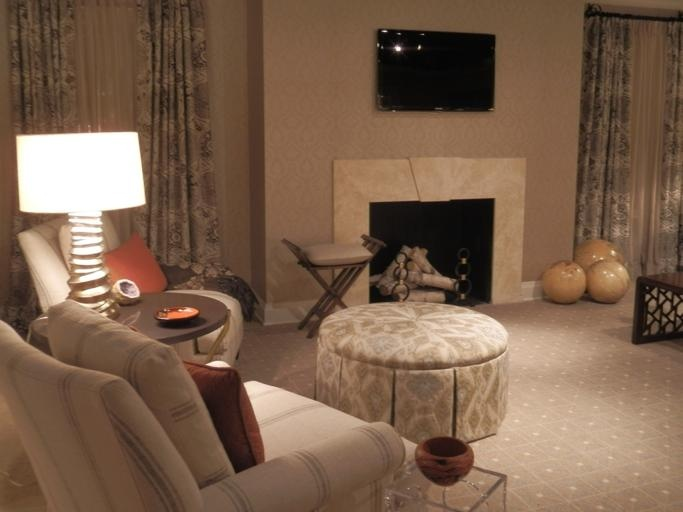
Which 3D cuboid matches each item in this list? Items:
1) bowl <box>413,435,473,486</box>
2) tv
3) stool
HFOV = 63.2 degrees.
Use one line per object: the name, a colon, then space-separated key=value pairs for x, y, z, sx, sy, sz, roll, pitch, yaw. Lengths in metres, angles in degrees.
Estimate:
bowl: x=0.311 y=0.609 z=1.670 sx=0.148 sy=0.091 sz=0.144 roll=-2 pitch=8 yaw=0
tv: x=0.742 y=-1.545 z=4.591 sx=0.787 sy=0.467 sz=0.078 roll=-1 pitch=12 yaw=-12
stool: x=0.470 y=0.475 z=2.902 sx=0.735 sy=0.356 sz=0.743 roll=9 pitch=11 yaw=31
